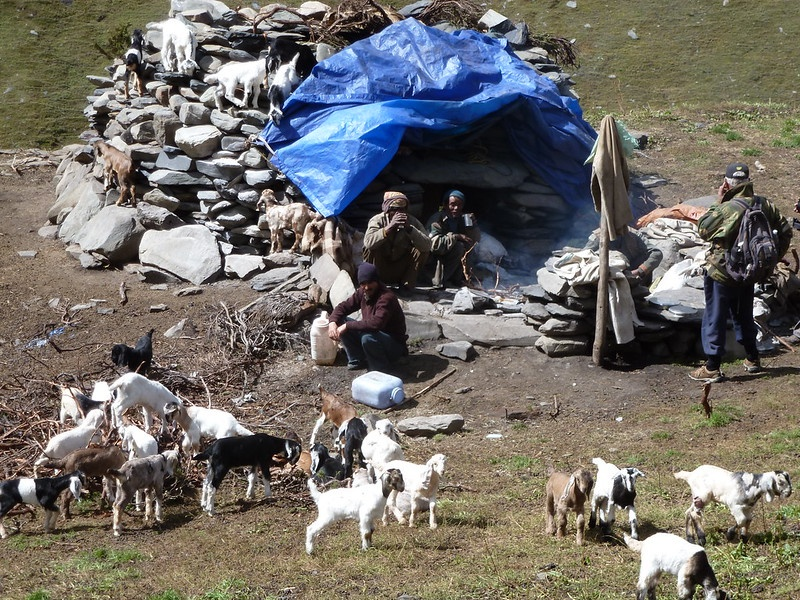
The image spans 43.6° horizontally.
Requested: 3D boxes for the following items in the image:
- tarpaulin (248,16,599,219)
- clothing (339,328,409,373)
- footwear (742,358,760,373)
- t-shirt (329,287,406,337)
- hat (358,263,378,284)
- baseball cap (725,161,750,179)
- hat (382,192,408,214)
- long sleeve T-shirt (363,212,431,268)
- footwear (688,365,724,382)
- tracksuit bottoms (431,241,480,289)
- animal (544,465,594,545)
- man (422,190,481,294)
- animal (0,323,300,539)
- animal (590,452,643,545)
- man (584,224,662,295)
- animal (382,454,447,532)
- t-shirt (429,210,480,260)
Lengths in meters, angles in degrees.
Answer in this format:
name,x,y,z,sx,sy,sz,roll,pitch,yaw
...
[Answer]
name,x,y,z,sx,sy,sz,roll,pitch,yaw
tarpaulin,0.299,-3.066,16.343,5.719,2.429,4.590,-14,18,-36
clothing,-0.348,0.585,12.928,0.611,0.403,0.772,-13,20,-23
footwear,4.316,0.810,12.282,0.111,0.102,0.228,1,13,6
t-shirt,-0.396,0.197,12.896,1.155,0.696,0.871,-3,7,-8
hat,-0.404,-0.338,12.765,0.253,0.233,0.256,-3,-7,-16
baseball cap,4.064,-1.545,12.042,0.232,0.203,0.226,2,11,37
hat,-0.073,-1.359,13.831,0.279,0.219,0.331,-2,6,0
long sleeve T-shirt,-0.048,-0.799,14.109,0.841,0.590,1.051,-6,-15,-9
footwear,3.736,0.916,12.299,0.472,0.209,0.196,5,5,29
tracksuit bottoms,0.796,-0.525,14.748,0.824,0.603,0.858,-5,11,-1
animal,1.611,1.945,9.627,0.278,0.752,0.547,-13,12,-39
man,0.794,-0.900,14.775,0.803,1.405,0.604,-6,9,-8
animal,-2.672,1.523,10.708,2.669,1.442,1.877,-8,9,-25
animal,2.082,1.879,9.566,0.341,0.729,0.693,-11,11,-33
man,3.219,-0.523,13.626,0.685,0.846,1.729,-3,8,14
animal,0.150,1.899,10.188,0.296,0.745,1.323,8,-7,-25
t-shirt,0.733,-0.956,14.843,0.686,0.703,0.725,-8,30,-22
